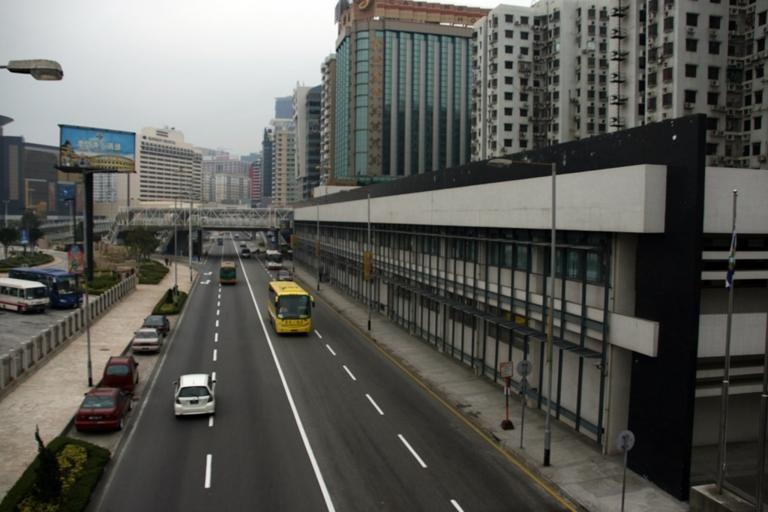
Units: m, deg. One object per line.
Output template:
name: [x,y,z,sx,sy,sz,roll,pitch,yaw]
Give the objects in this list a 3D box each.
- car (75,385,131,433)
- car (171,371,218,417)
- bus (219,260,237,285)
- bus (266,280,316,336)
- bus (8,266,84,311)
car: [-17.954,9.638,45.048,3.063,2.263,4.389,0,-1,-11]
car: [-12.147,9.139,46.725,2.884,2.476,3.372,1,10,0]
bus: [-21.217,2.363,95.469,2.009,2.982,3.068,0,12,-7]
bus: [-9.523,4.516,68.356,3.192,4.389,10.521,1,6,-16]
bus: [-36.438,3.544,77.487,12.225,4.864,4.015,1,2,44]
